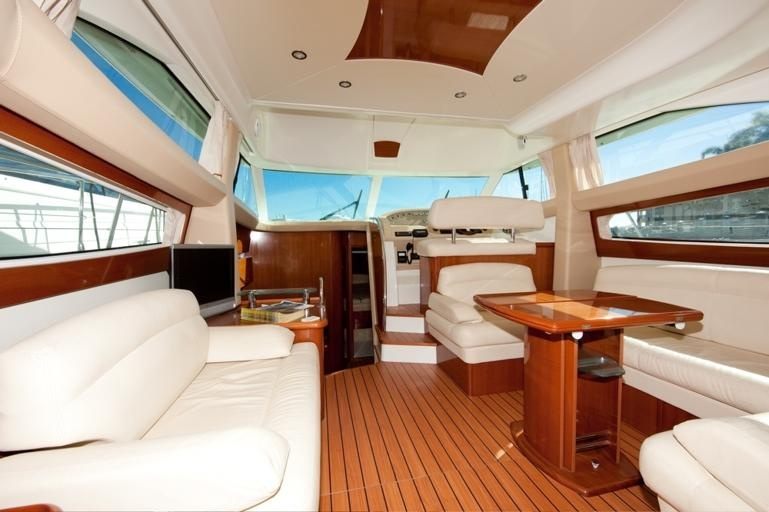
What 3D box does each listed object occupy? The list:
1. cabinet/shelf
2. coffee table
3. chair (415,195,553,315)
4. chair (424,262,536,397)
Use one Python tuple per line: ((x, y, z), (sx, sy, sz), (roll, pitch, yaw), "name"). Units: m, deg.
((-0.938, 0.736, 3.613), (0.890, 0.523, 0.866), (0, -1, -25), "cabinet/shelf")
((1.268, 0.864, 3.048), (1.131, 1.181, 0.694), (-2, 1, -2), "coffee table")
((0.975, 0.008, 4.428), (1.383, 1.204, 0.732), (0, 7, -4), "chair")
((0.937, 0.558, 4.275), (1.154, 0.963, 1.046), (-1, 0, -13), "chair")
